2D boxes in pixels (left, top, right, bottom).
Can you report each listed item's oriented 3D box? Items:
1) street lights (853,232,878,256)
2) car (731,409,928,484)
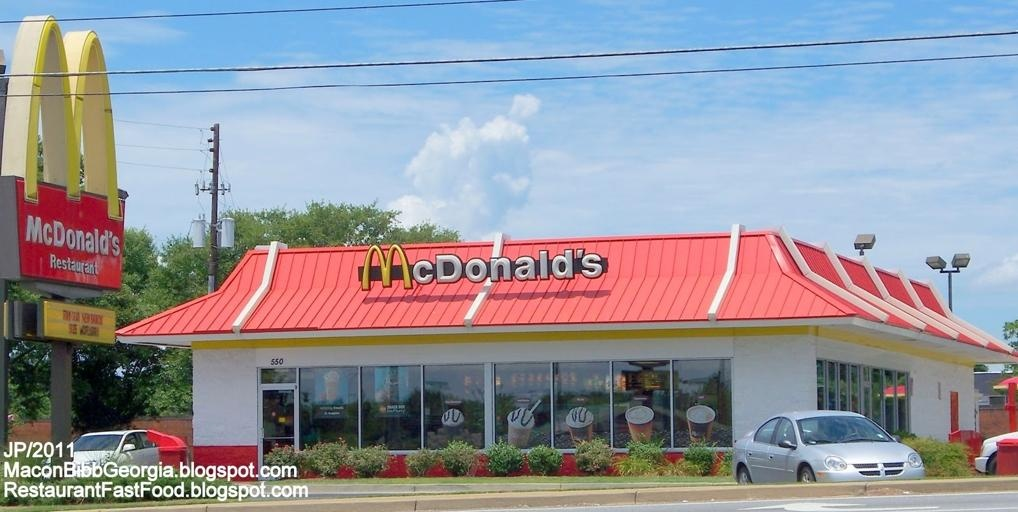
[{"bbox_3d":[13.500,-0.657,73.127,0.908,1.572,0.569,1,-48,15],"label":"street lights"},{"bbox_3d":[12.155,7.897,78.388,3.599,1.969,5.673,3,-10,-34],"label":"car"}]
